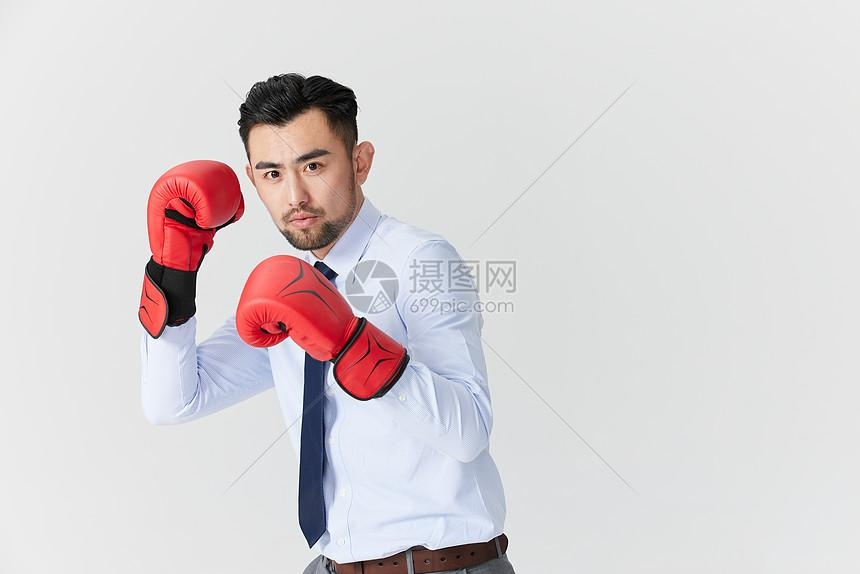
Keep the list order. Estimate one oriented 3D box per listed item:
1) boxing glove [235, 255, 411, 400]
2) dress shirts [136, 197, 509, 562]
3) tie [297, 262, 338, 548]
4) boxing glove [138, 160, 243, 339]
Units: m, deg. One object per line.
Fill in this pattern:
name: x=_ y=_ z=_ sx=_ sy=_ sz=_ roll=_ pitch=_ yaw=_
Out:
boxing glove: x=-0.359 y=0.142 z=3.054 sx=0.628 sy=0.369 sz=0.241 roll=31 pitch=-42 yaw=12
dress shirts: x=-0.392 y=0.348 z=3.526 sx=1.579 sy=1.412 sz=0.952 roll=1 pitch=11 yaw=41
tie: x=-0.399 y=0.551 z=3.355 sx=0.127 sy=0.907 sz=0.046 roll=7 pitch=8 yaw=20
boxing glove: x=-0.844 y=-0.157 z=3.221 sx=0.292 sy=0.582 sz=0.503 roll=9 pitch=16 yaw=24
